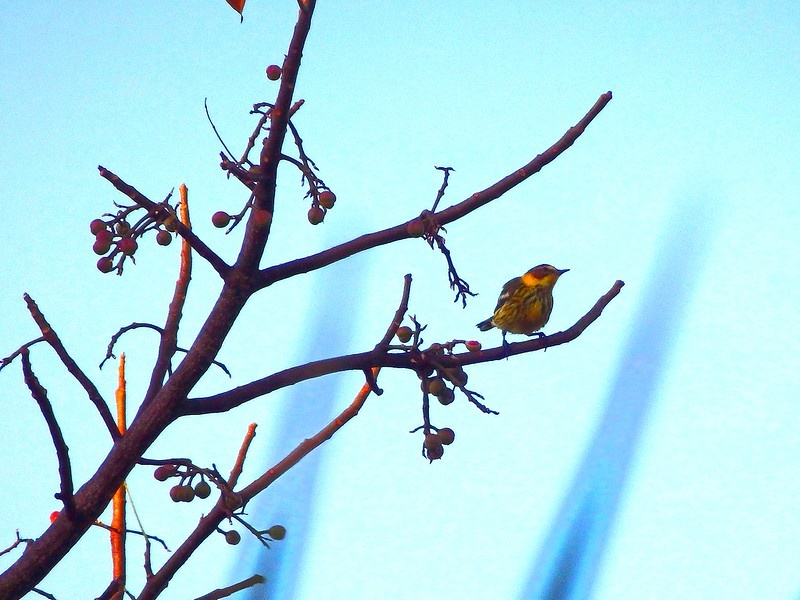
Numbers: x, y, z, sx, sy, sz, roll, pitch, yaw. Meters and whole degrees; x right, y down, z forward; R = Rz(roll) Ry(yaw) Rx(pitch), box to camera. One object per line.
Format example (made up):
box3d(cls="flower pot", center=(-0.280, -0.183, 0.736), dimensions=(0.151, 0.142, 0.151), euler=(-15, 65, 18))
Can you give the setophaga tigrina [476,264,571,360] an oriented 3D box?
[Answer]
box3d(cls="setophaga tigrina", center=(0.565, 0.014, 6.602), dimensions=(0.264, 0.425, 0.512), euler=(6, 0, -42))
